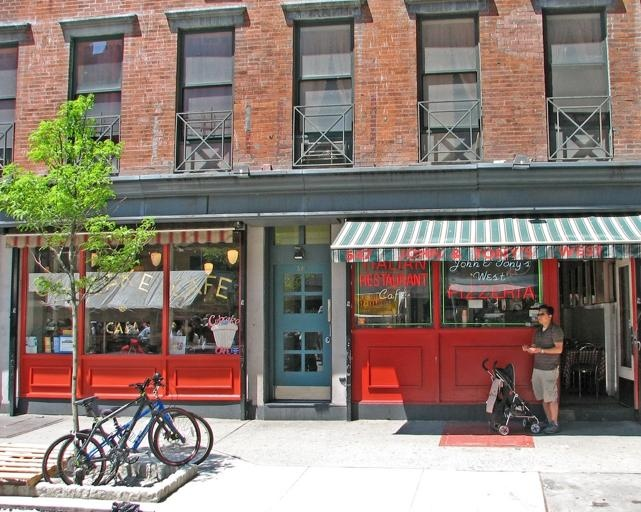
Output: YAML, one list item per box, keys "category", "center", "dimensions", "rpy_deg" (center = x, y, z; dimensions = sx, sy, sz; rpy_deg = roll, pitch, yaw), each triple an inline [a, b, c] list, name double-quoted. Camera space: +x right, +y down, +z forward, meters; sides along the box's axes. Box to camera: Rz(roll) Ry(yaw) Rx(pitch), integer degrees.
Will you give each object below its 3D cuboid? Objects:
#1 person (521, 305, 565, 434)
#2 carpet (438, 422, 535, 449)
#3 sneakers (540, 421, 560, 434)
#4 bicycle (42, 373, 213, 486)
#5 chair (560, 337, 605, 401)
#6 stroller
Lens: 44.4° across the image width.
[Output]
- category: "person"
  center: [3.811, 1.931, 13.545]
  dimensions: [0.716, 2.168, 0.716]
  rpy_deg: [3, -4, -20]
- category: "carpet"
  center: [2.717, 3.056, 13.249]
  dimensions: [1.001, 0.121, 0.874]
  rpy_deg: [1, 0, 4]
- category: "sneakers"
  center: [3.906, 2.931, 13.400]
  dimensions: [0.314, 0.185, 0.229]
  rpy_deg: [-4, -3, 14]
- category: "bicycle"
  center: [-2.874, 2.569, 11.683]
  dimensions: [2.438, 1.497, 0.530]
  rpy_deg: [-2, -4, -22]
- category: "chair"
  center: [5.270, 2.291, 15.768]
  dimensions: [0.916, 0.949, 1.327]
  rpy_deg: [-3, -3, -7]
- category: "stroller"
  center: [3.337, 2.435, 13.689]
  dimensions: [0.943, 1.289, 1.004]
  rpy_deg: [1, 3, 5]
